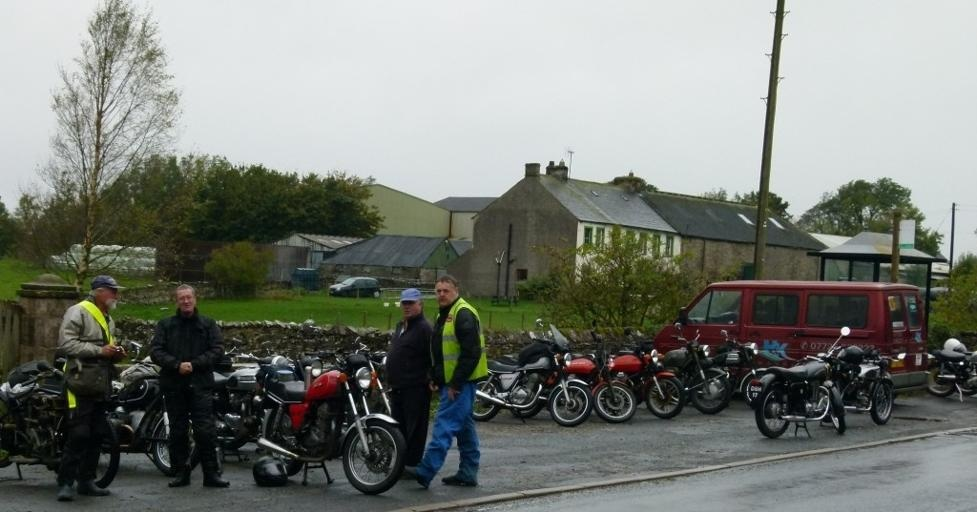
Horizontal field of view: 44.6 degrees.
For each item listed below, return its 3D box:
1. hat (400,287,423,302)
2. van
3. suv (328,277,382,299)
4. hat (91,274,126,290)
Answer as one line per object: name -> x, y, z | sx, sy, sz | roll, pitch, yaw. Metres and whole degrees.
hat -> -2.153, 1.051, 32.828 | 0.458, 0.266, 0.586 | -2, -6, 13
van -> 10.872, 2.634, 40.855 | 7.239, 2.996, 4.128 | 2, -1, 20
suv -> -9.275, 2.159, 81.195 | 2.709, 1.031, 1.617 | 6, -7, -45
hat -> -10.547, 0.726, 32.620 | 0.695, 0.307, 0.491 | 0, 1, -13
